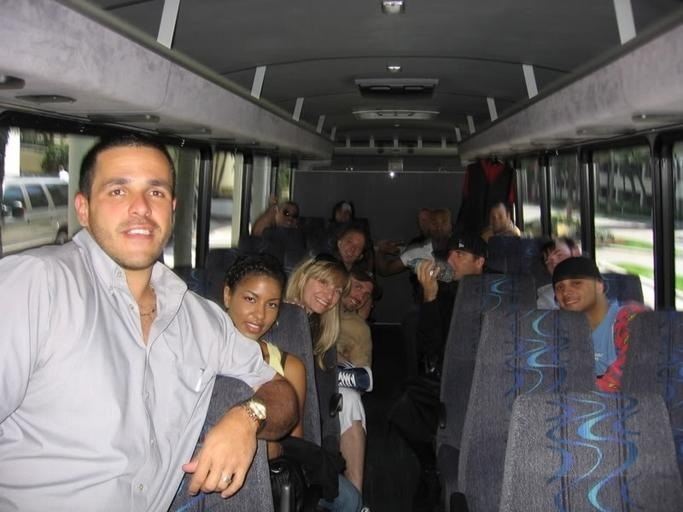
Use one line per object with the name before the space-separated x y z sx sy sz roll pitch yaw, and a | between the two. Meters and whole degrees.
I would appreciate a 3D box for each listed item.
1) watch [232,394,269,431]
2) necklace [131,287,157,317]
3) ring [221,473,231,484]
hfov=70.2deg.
watch | -0.287 0.524 1.644 0.116 0.107 0.078 -29 1 44
necklace | -0.693 0.156 1.734 0.060 0.086 0.033 -1 -9 -7
ring | -0.359 0.697 1.521 0.034 0.027 0.035 4 -9 1
